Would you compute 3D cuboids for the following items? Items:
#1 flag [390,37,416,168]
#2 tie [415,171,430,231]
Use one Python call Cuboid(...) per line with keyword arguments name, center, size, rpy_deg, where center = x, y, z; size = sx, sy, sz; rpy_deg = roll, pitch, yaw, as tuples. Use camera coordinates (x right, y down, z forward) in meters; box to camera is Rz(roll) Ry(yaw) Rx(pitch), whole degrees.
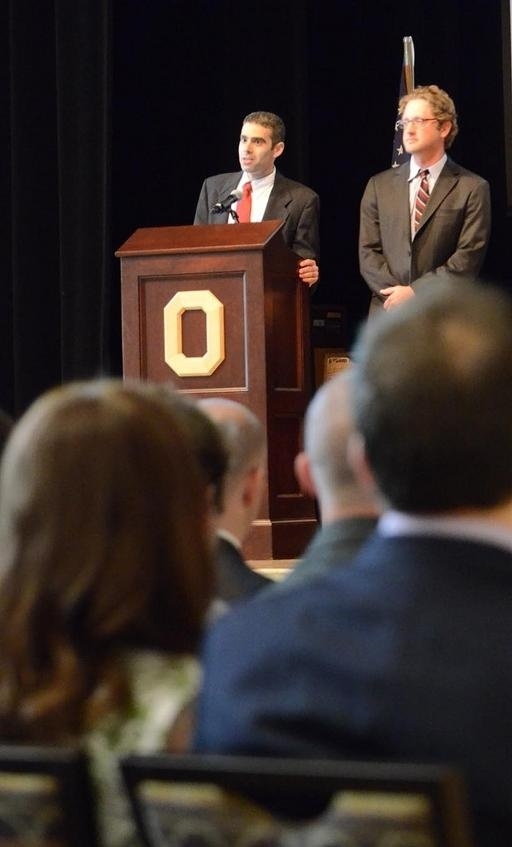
Cuboid(name="flag", center=(0.887, -1.913, 4.995), size=(0.059, 0.757, 0.137), rpy_deg=(1, 5, -30))
Cuboid(name="tie", center=(0.801, -1.096, 4.074), size=(0.048, 0.357, 0.035), rpy_deg=(4, -17, 23))
